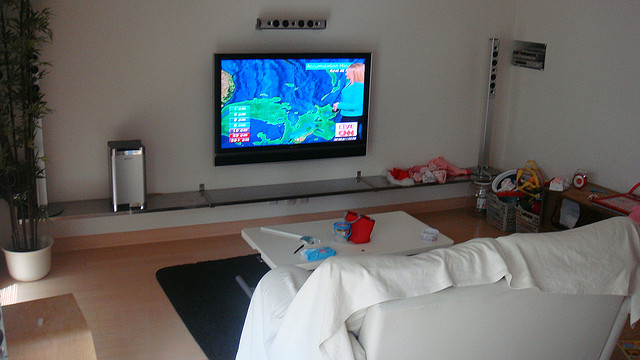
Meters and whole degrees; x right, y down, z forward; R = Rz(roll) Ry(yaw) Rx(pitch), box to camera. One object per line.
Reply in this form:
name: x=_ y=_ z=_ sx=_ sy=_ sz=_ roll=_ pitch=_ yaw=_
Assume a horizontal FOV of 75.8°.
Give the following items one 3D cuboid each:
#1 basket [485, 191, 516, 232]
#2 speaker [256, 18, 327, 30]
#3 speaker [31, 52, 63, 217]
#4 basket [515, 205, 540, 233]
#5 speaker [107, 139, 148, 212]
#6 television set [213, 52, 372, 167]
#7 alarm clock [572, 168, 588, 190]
basket: x=2.253 y=0.423 z=5.408 sx=0.319 sy=0.293 sz=0.450 roll=-9 pitch=24 yaw=-17
speaker: x=-0.311 y=-1.826 z=4.781 sx=0.769 sy=0.159 sz=0.146 roll=-3 pitch=11 yaw=-11
speaker: x=-2.860 y=-0.470 z=4.181 sx=0.225 sy=1.680 sz=0.480 roll=-10 pitch=12 yaw=-32
basket: x=2.597 y=0.470 z=5.128 sx=0.192 sy=0.225 sz=0.314 roll=-1 pitch=16 yaw=-5
speaker: x=-2.072 y=-0.041 z=4.406 sx=0.434 sy=0.749 sz=0.141 roll=-4 pitch=10 yaw=-5
television set: x=-0.386 y=-0.897 z=4.881 sx=1.585 sy=0.983 sz=0.037 roll=-2 pitch=15 yaw=-15
alarm clock: x=3.155 y=-0.033 z=4.981 sx=0.197 sy=0.240 sz=0.067 roll=19 pitch=-12 yaw=32
